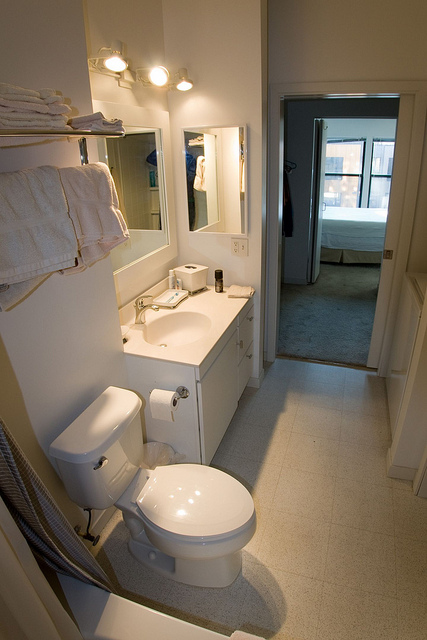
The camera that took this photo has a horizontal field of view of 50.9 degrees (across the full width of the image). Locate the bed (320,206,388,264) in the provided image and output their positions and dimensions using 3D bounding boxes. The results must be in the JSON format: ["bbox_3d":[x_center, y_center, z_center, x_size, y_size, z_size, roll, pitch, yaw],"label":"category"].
[{"bbox_3d":[1.857,-1.122,6.026,1.111,0.313,1.308,5,40,19],"label":"bed"}]

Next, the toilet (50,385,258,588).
[{"bbox_3d":[-0.165,0.688,1.717,0.676,0.674,0.411,8,30,21],"label":"toilet"}]

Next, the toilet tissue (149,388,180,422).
[{"bbox_3d":[-0.207,0.359,1.936,0.106,0.141,0.082,9,30,24],"label":"toilet tissue"}]
